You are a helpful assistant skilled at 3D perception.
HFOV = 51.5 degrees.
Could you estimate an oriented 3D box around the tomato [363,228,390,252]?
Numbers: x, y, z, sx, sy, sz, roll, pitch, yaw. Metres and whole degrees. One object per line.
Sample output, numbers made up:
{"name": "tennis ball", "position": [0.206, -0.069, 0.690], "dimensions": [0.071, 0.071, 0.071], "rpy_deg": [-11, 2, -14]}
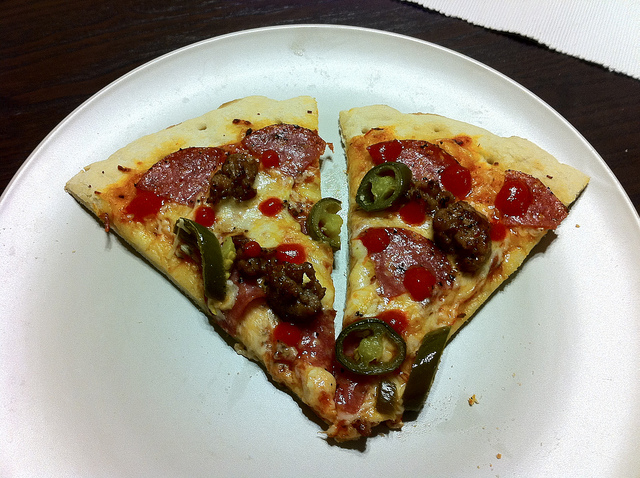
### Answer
{"name": "tomato", "position": [0.627, 0.017, 7.287], "dimensions": [0.265, 0.097, 0.253], "rpy_deg": [-35, 86, -5]}
